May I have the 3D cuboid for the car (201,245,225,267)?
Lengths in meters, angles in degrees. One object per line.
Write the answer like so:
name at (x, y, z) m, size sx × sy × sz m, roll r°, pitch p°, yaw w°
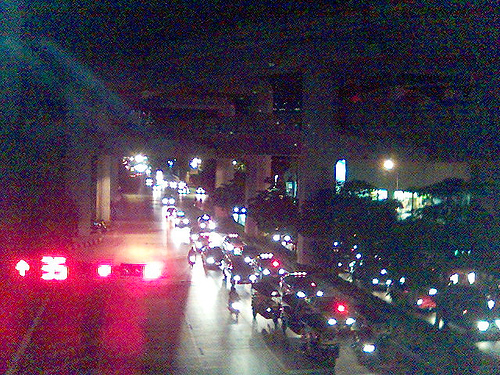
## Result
car at (-2.919, 5.597, 38.938) m, size 1.971 × 0.922 × 2.689 m, roll 2°, pitch 17°, yaw -30°

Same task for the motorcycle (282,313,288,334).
motorcycle at (1.798, 7.125, 25.794) m, size 0.290 × 1.061 × 0.943 m, roll 4°, pitch -4°, yaw 6°
